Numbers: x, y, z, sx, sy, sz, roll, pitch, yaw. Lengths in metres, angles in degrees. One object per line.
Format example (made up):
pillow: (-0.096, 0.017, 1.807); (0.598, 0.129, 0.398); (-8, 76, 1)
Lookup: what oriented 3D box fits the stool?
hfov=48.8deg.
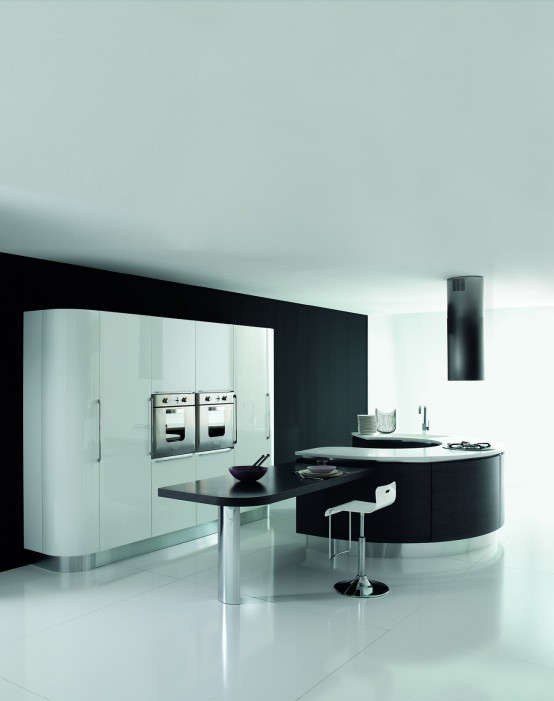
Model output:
stool: (0.609, 1.353, 4.492); (0.400, 0.796, 0.401); (-3, -7, 30)

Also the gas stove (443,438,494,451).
gas stove: (1.791, 0.893, 5.695); (0.416, 0.040, 0.734); (-1, -2, 20)

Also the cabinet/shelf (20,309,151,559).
cabinet/shelf: (-1.757, 0.658, 4.983); (0.689, 1.964, 0.286); (0, -1, 8)

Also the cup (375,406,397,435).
cup: (1.268, 0.842, 7.121); (0.238, 0.295, 0.379); (0, -1, 6)

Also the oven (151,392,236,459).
oven: (-0.836, 0.713, 5.837); (0.218, 0.427, 0.657); (-4, -5, 32)

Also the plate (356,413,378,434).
plate: (1.071, 0.870, 7.261); (0.190, 0.206, 0.216); (1, -1, -25)

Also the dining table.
dining table: (-0.127, 1.320, 4.272); (0.830, 0.856, 1.279); (-1, -2, 36)
